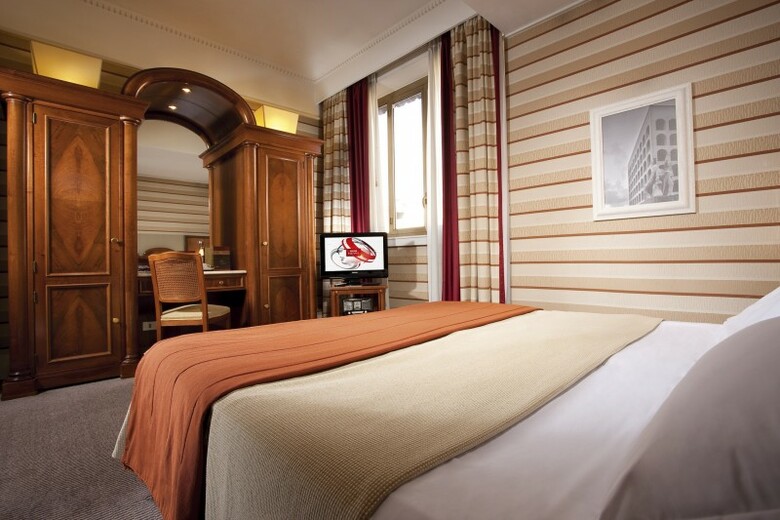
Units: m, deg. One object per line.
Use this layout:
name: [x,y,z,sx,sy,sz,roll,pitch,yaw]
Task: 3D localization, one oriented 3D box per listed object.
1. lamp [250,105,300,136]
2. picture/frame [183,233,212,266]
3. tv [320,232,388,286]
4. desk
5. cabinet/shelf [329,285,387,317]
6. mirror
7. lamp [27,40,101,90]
lamp: [-1.314,-1.569,5.561,0.524,0.275,0.351,-1,8,-40]
picture/frame: [-1.992,-0.100,4.928,0.103,0.312,0.327,-6,-6,34]
tv: [-0.395,-0.028,5.277,0.577,0.434,0.169,0,-7,2]
desk: [-1.947,0.380,4.965,0.770,1.014,1.078,-1,0,34]
cabinet/shelf: [-0.367,0.426,5.184,0.492,0.467,0.375,0,-2,-23]
mirror: [-2.346,-0.785,5.200,0.744,1.611,0.328,-3,1,-28]
lamp: [-2.845,-1.718,4.229,0.496,0.429,0.104,-3,1,-30]
